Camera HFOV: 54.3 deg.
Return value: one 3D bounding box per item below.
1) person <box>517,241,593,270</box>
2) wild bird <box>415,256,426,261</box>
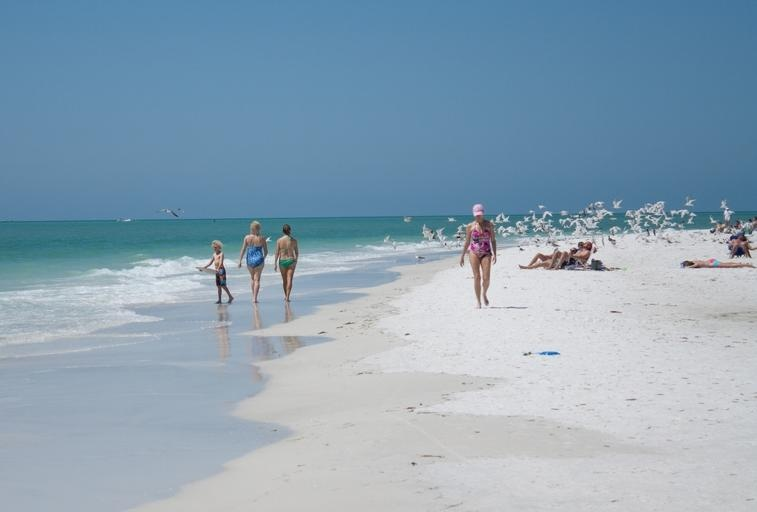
[{"bbox_3d":[5.047,0.005,21.799,2.325,0.744,0.848,-2,-2,14],"label":"person"},{"bbox_3d":[1.890,0.081,34.673,0.436,0.122,0.819,-1,2,-14],"label":"wild bird"}]
